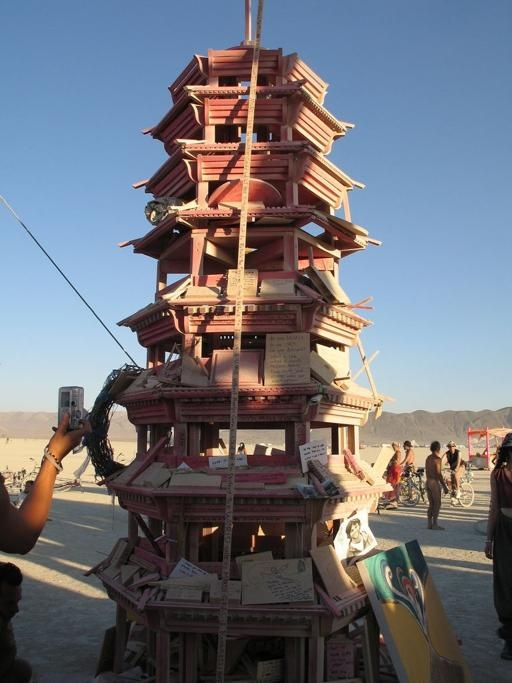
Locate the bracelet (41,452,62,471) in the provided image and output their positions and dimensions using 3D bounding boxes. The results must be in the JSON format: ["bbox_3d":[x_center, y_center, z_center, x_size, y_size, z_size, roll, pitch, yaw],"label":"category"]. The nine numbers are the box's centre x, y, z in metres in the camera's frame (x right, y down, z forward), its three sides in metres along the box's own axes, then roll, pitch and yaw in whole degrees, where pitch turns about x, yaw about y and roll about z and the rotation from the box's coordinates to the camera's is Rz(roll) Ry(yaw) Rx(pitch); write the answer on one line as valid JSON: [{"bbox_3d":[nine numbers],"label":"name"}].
[{"bbox_3d":[-1.294,0.772,4.425,0.063,0.139,0.106,-43,12,-14],"label":"bracelet"}]
